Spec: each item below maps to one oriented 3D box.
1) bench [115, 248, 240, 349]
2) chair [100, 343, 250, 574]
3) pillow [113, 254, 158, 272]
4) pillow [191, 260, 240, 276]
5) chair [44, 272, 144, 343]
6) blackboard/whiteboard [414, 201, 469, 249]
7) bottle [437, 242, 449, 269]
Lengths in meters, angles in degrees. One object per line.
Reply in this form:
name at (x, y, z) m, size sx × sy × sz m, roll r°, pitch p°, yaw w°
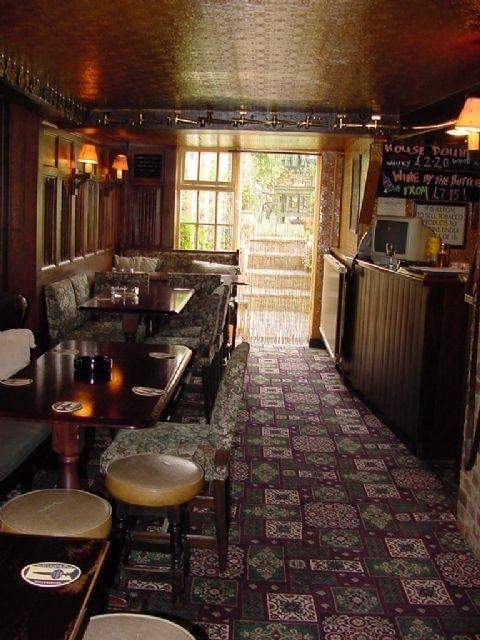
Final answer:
bench at (-1.004, -0.124, 7.470) m, size 2.226 × 1.774 × 1.281 m, roll 1°, pitch 4°, yaw 2°
chair at (-0.283, 0.679, 3.056) m, size 0.966 × 1.562 × 0.957 m, roll 6°, pitch 9°, yaw 3°
pillow at (-1.667, -0.921, 7.827) m, size 0.397 × 0.243 × 0.115 m, roll 1°, pitch -16°, yaw -2°
pillow at (-0.388, -0.855, 7.779) m, size 0.809 × 0.197 × 0.493 m, roll 9°, pitch 9°, yaw 37°
chair at (-1.789, -0.056, 5.998) m, size 0.911 × 1.311 × 0.929 m, roll 2°, pitch 16°, yaw 3°
blackboard/whiteboard at (2.071, -1.000, 4.987) m, size 0.667 × 0.628 × 0.064 m, roll 3°, pitch 12°, yaw 11°
bottle at (1.727, -0.553, 4.115) m, size 0.091 × 0.211 × 0.416 m, roll 6°, pitch 7°, yaw 21°
